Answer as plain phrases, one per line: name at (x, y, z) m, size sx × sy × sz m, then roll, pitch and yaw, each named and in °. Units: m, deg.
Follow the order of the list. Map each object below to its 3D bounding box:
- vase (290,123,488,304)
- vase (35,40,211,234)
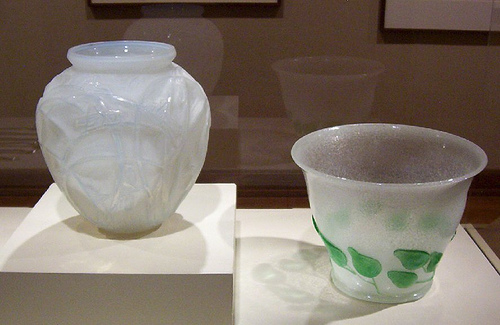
vase at (0.292, 0.110, 1.105) m, size 0.427 × 0.313 × 0.423 m, roll -4°, pitch 22°, yaw -3°
vase at (-0.223, -0.076, 1.051) m, size 0.388 × 0.425 × 0.369 m, roll -1°, pitch 13°, yaw -7°
